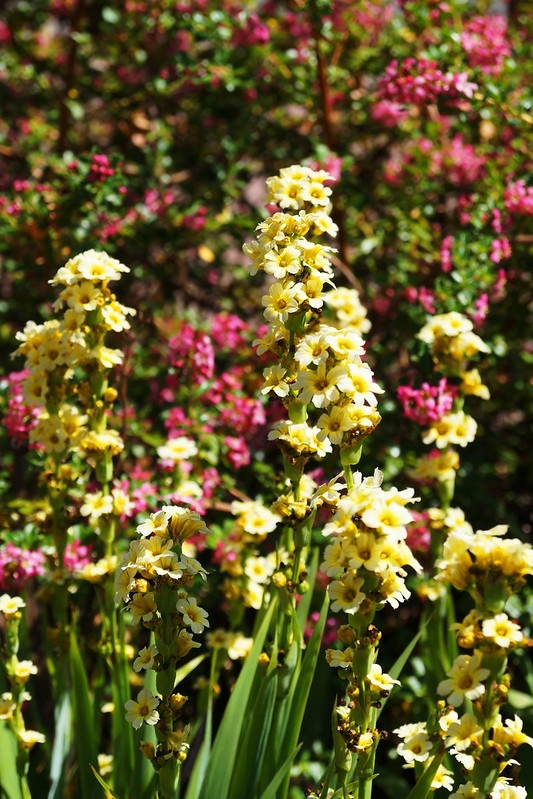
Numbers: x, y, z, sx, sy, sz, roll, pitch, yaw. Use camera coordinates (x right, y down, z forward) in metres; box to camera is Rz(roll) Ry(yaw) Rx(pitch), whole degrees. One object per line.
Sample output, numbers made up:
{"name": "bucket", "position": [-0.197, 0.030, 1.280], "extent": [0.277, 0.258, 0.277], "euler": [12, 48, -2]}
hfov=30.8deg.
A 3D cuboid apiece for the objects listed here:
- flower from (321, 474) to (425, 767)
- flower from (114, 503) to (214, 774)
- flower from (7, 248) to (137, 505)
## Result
{"name": "flower", "position": [0.190, 0.458, 1.924], "extent": [0.189, 0.622, 0.265], "euler": [5, 4, 3]}
{"name": "flower", "position": [-0.220, 0.487, 1.962], "extent": [0.188, 0.544, 0.250], "euler": [4, 4, -8]}
{"name": "flower", "position": [-0.461, -0.073, 2.337], "extent": [0.230, 0.567, 0.261], "euler": [0, 6, -40]}
